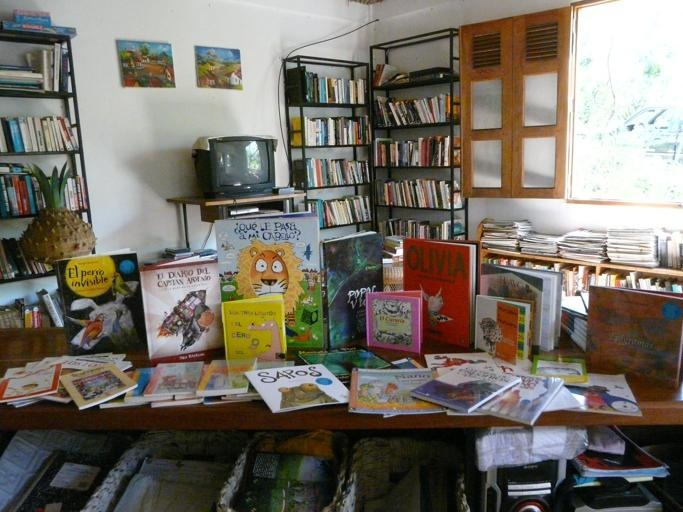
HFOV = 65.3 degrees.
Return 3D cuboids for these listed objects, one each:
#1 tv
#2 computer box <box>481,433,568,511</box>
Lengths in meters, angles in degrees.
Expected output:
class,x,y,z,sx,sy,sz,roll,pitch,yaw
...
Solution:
class,x,y,z,sx,sy,sz,roll,pitch,yaw
tv,-0.986,-0.778,4.787,0.899,0.584,0.539,-10,16,-37
computer box,0.589,0.700,1.740,0.224,0.283,0.235,7,26,25
